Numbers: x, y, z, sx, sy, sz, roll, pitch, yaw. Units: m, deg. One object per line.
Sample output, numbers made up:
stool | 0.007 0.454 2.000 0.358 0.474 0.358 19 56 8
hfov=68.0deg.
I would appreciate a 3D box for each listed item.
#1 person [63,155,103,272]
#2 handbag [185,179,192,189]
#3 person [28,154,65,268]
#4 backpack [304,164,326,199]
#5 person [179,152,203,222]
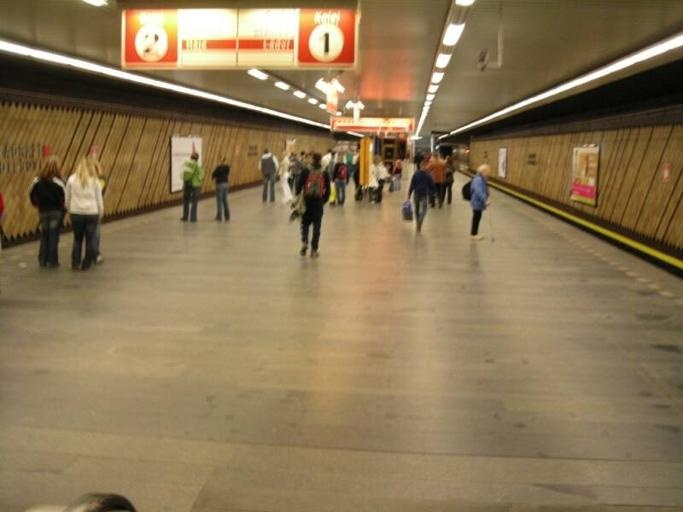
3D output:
person | -4.271 -0.712 8.453 0.544 1.840 0.511 -6 16 -29
handbag | -4.174 -1.939 13.734 0.206 0.203 0.351 2 11 -13
person | -4.892 -0.730 8.517 0.531 1.837 0.444 -7 16 -32
backpack | -0.512 -1.434 9.754 0.483 0.705 0.376 5 -24 0
person | -4.151 -1.900 14.030 0.562 2.004 1.437 -2 15 -17
